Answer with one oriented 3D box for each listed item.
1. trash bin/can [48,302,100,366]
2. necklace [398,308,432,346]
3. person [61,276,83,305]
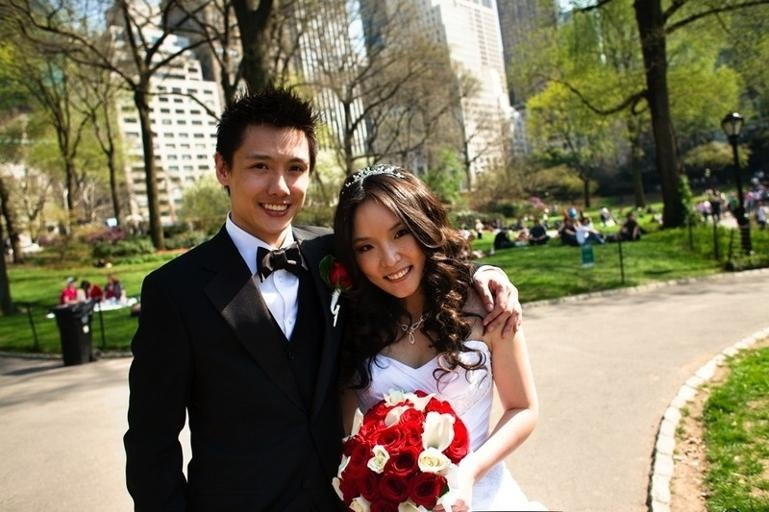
[{"bbox_3d":[-7.681,1.920,13.967,0.847,1.727,0.618,-7,1,-31],"label":"trash bin/can"},{"bbox_3d":[0.356,0.880,6.867,0.362,0.415,0.099,-3,-6,7],"label":"necklace"},{"bbox_3d":[-8.157,0.867,14.596,0.309,0.770,0.594,-6,1,2],"label":"person"}]
